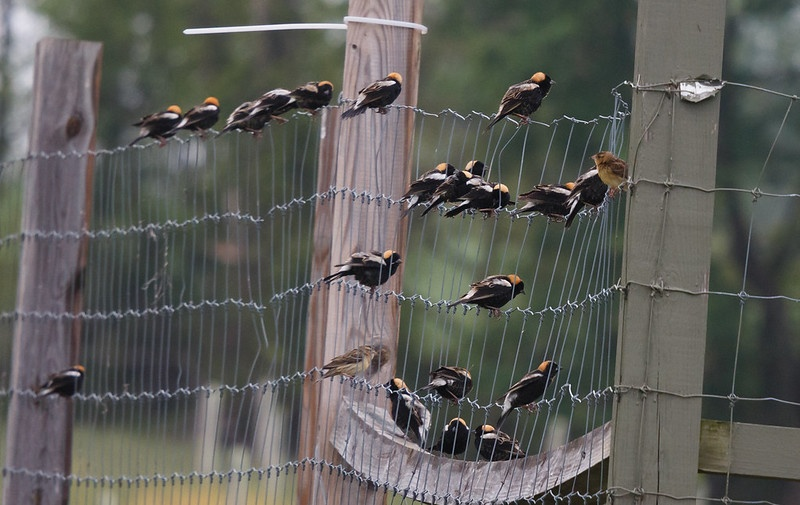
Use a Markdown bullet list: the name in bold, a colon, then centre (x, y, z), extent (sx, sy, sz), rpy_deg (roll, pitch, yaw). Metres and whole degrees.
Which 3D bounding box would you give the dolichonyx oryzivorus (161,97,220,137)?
- **dolichonyx oryzivorus**: centre (-2.562, -1.702, 22.800), extent (0.832, 0.481, 0.290), rpy_deg (-5, 0, -30)

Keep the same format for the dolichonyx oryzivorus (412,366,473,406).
- **dolichonyx oryzivorus**: centre (0.618, 1.617, 22.144), extent (0.850, 0.411, 0.313), rpy_deg (9, -16, 20)

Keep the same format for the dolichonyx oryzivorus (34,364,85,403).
- **dolichonyx oryzivorus**: centre (-4.308, 1.671, 22.790), extent (0.803, 0.389, 0.278), rpy_deg (-4, -12, -27)

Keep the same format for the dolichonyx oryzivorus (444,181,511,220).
- **dolichonyx oryzivorus**: centre (1.103, -0.645, 22.308), extent (0.942, 0.470, 0.319), rpy_deg (12, 10, 38)

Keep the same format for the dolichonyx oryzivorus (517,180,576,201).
- **dolichonyx oryzivorus**: centre (1.851, -0.761, 22.352), extent (0.792, 0.395, 0.265), rpy_deg (0, 15, 4)

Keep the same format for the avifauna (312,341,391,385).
- **avifauna**: centre (-0.631, 1.392, 22.213), extent (1.016, 0.509, 0.352), rpy_deg (-6, -8, -11)

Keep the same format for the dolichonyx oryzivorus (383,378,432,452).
- **dolichonyx oryzivorus**: centre (0.087, 1.994, 22.165), extent (0.593, 0.841, 0.296), rpy_deg (2, -7, -5)

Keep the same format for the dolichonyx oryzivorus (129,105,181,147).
- **dolichonyx oryzivorus**: centre (-3.073, -1.584, 22.838), extent (0.940, 0.525, 0.347), rpy_deg (-5, -1, -36)

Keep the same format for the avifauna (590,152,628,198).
- **avifauna**: centre (2.615, -0.959, 22.043), extent (0.462, 0.545, 0.294), rpy_deg (-7, 4, -16)

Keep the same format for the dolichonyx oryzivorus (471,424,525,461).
- **dolichonyx oryzivorus**: centre (1.237, 2.374, 22.256), extent (0.617, 0.461, 0.480), rpy_deg (1, -8, 2)

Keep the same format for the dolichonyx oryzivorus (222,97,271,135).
- **dolichonyx oryzivorus**: centre (-1.938, -1.646, 22.471), extent (0.612, 0.297, 0.331), rpy_deg (-13, -10, 29)

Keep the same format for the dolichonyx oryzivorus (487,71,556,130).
- **dolichonyx oryzivorus**: centre (1.529, -1.881, 22.473), extent (0.751, 0.734, 0.372), rpy_deg (2, -7, -1)

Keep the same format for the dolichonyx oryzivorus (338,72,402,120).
- **dolichonyx oryzivorus**: centre (-0.288, -1.921, 22.269), extent (0.889, 0.513, 0.322), rpy_deg (-9, 9, -23)

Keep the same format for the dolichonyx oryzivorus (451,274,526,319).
- **dolichonyx oryzivorus**: centre (1.149, 0.557, 22.070), extent (0.993, 0.682, 0.394), rpy_deg (4, 1, -5)

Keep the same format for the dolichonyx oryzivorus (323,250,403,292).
- **dolichonyx oryzivorus**: centre (-0.539, 0.245, 22.310), extent (1.111, 0.572, 0.401), rpy_deg (3, 1, 6)
